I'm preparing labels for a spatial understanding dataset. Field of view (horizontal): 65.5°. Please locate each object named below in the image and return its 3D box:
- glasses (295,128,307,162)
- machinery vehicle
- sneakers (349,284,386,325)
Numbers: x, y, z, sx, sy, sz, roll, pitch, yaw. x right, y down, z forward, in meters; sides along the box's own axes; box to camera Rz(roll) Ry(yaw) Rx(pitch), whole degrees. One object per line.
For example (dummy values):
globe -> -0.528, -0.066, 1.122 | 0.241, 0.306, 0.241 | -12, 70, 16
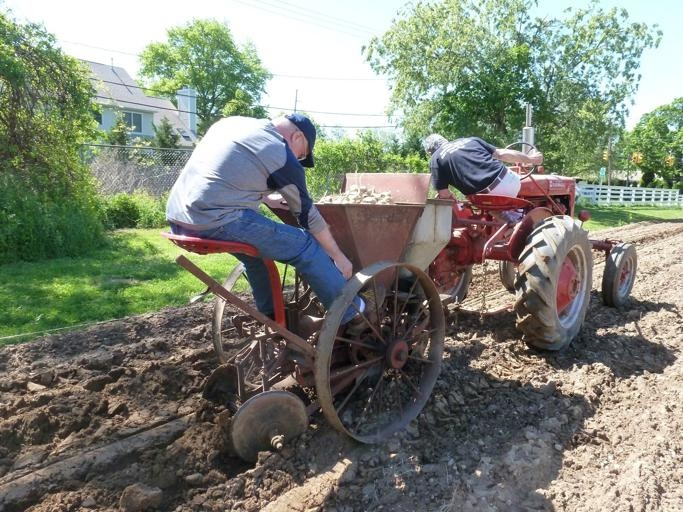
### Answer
glasses -> -0.316, -0.902, 4.347 | 0.062, 0.169, 0.118 | -18, 28, -30
machinery vehicle -> 0.982, -0.119, 5.778 | 5.650, 2.422, 2.134 | -20, 19, -36
sneakers -> 0.255, 0.391, 4.437 | 0.274, 0.285, 0.280 | -14, -14, -38
